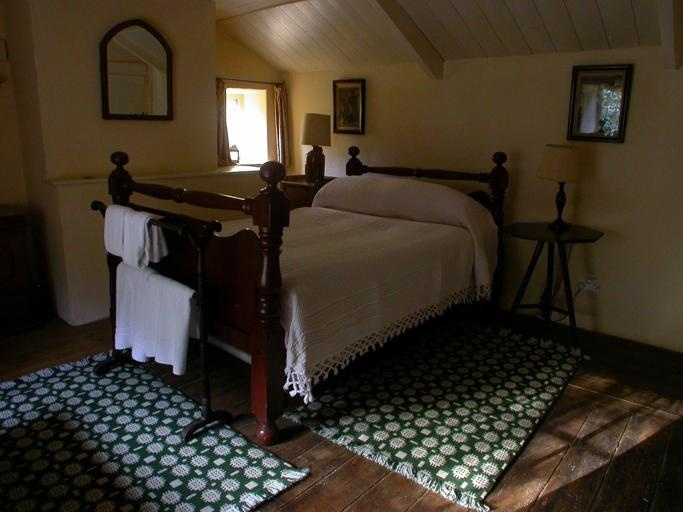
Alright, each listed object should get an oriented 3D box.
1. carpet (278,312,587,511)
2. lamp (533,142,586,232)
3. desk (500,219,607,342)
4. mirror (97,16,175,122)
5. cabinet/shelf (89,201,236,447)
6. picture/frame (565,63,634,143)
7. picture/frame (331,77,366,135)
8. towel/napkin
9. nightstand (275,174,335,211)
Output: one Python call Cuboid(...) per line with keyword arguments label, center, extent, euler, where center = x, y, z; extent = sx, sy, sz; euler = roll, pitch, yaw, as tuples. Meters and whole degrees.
Cuboid(label="carpet", center=(0.572, 0.900, 3.190), extent=(0.869, 0.071, 1.266), euler=(13, 23, 33))
Cuboid(label="lamp", center=(1.738, -0.554, 4.056), extent=(0.301, 0.681, 0.317), euler=(15, 31, 37))
Cuboid(label="desk", center=(1.622, 0.175, 4.077), extent=(0.529, 0.739, 0.592), euler=(-11, 17, -44))
Cuboid(label="mirror", center=(-1.737, -1.565, 4.271), extent=(0.041, 1.062, 0.700), euler=(15, 21, 31))
Cuboid(label="cabinet/shelf", center=(-1.067, 0.449, 3.113), extent=(0.340, 1.128, 1.045), euler=(-11, 18, -39))
Cuboid(label="picture/frame", center=(1.965, -1.162, 3.923), extent=(0.391, 0.626, 0.027), euler=(7, -14, 22))
Cuboid(label="picture/frame", center=(0.083, -1.546, 5.268), extent=(0.467, 0.749, 0.050), euler=(8, 12, 37))
Cuboid(label="towel/napkin", center=(-1.143, 0.220, 3.126), extent=(0.826, 1.043, 0.199), euler=(16, 16, 40))
Cuboid(label="nightstand", center=(-0.304, -0.557, 4.574), extent=(0.325, 0.481, 0.433), euler=(-14, 20, -42))
